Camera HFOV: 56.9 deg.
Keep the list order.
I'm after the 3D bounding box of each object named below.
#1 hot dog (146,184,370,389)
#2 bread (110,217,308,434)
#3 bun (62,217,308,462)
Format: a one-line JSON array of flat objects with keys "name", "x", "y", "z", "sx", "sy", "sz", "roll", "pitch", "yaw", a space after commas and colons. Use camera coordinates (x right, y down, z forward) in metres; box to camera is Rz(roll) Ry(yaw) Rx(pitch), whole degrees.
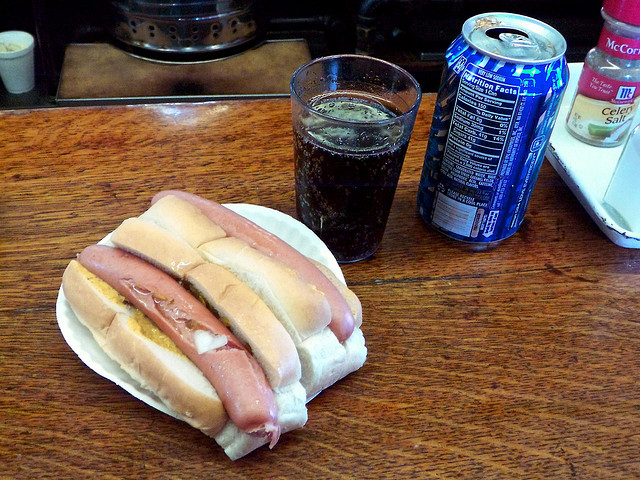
[{"name": "hot dog", "x": -0.134, "y": 0.056, "z": 0.891, "sx": 0.395, "sy": 0.124, "sz": 0.183, "roll": 35, "pitch": 37, "yaw": 10}, {"name": "bread", "x": -0.146, "y": 0.122, "z": 0.762, "sx": 0.237, "sy": 0.151, "sz": 0.324, "roll": -14, "pitch": 31, "yaw": -29}, {"name": "bun", "x": -0.186, "y": 0.115, "z": 0.796, "sx": 0.189, "sy": 0.153, "sz": 0.391, "roll": -34, "pitch": 56, "yaw": -27}]
